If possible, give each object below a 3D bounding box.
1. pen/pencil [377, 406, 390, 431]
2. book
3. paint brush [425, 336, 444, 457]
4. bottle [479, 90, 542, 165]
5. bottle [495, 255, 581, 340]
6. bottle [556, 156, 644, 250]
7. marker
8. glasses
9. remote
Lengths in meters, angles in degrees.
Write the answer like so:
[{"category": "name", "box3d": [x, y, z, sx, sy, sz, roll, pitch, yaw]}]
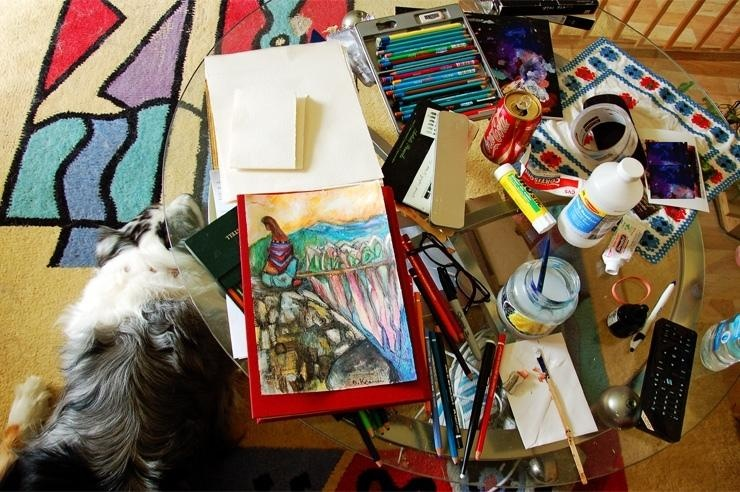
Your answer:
[{"category": "pen/pencil", "box3d": [0.032, 0.397, 1.317, 0.014, 0.018, 0.070, -14, 76, 29]}, {"category": "book", "box3d": [0.120, -0.211, 1.358, 0.195, 0.065, 0.280, 24, 85, 8]}, {"category": "paint brush", "box3d": [0.148, 0.348, 1.320, 0.027, 0.018, 0.272, 0, 78, -31]}, {"category": "bottle", "box3d": [0.341, -0.278, 1.385, 0.119, 0.188, 0.068, -1, 45, -2]}, {"category": "bottle", "box3d": [0.411, 0.119, 1.315, 0.210, 0.192, 0.123, 2, 46, 1]}, {"category": "bottle", "box3d": [0.535, -0.094, 1.329, 0.153, 0.266, 0.070, 20, 48, 18]}, {"category": "marker", "box3d": [0.145, 0.112, 1.342, 0.035, 0.035, 0.273, -24, 83, -9]}, {"category": "glasses", "box3d": [0.182, 0.071, 1.390, 0.054, 0.187, 0.199, -36, 80, -22]}, {"category": "remote", "box3d": [0.711, 0.318, 1.346, 0.119, 0.165, 0.237, 15, 48, 14]}]
